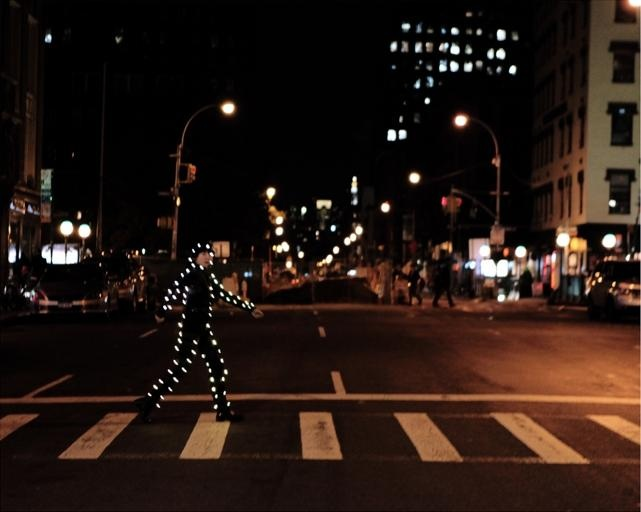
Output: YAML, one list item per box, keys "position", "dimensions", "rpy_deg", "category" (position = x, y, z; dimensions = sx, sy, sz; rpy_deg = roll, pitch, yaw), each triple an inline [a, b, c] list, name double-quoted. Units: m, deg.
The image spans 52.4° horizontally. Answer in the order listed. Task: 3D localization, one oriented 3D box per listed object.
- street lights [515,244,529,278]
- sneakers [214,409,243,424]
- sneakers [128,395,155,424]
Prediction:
- position: [16.290, 0.324, 52.355]
  dimensions: [0.659, 2.923, 0.717]
  rpy_deg: [0, -2, 7]
  category: "street lights"
- position: [-1.234, 2.170, 8.941]
  dimensions: [0.380, 0.184, 0.264]
  rpy_deg: [-1, -3, -28]
  category: "sneakers"
- position: [-2.369, 2.081, 8.919]
  dimensions: [0.265, 0.454, 0.142]
  rpy_deg: [3, -6, 21]
  category: "sneakers"
